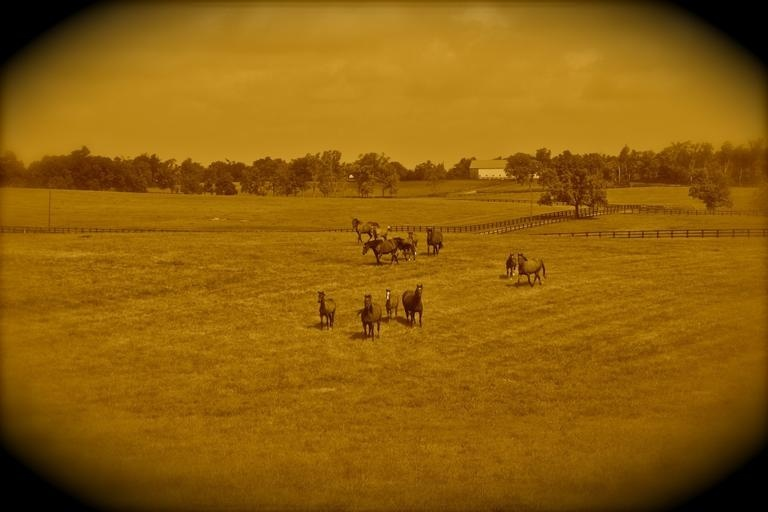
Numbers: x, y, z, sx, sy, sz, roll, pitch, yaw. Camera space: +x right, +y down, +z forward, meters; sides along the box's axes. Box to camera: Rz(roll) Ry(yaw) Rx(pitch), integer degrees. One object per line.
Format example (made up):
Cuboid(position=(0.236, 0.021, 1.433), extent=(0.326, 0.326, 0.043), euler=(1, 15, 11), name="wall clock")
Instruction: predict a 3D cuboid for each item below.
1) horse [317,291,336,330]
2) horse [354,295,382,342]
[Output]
Cuboid(position=(-2.517, 2.353, 38.418), extent=(0.672, 1.583, 2.288), euler=(-1, -3, 8), name="horse")
Cuboid(position=(-0.642, 2.610, 37.799), extent=(0.893, 1.852, 2.880), euler=(-2, -4, 6), name="horse")
